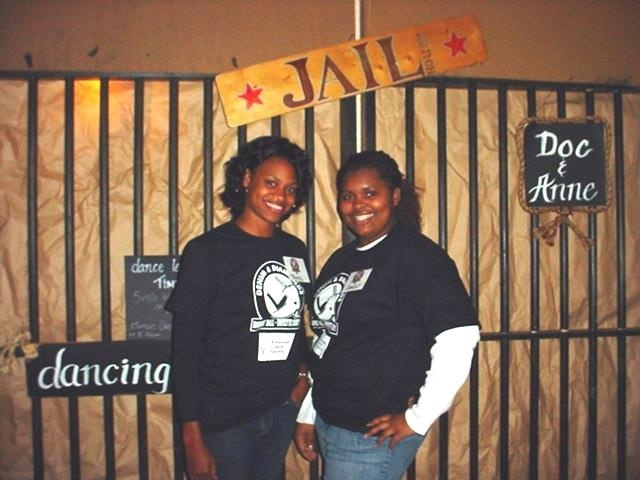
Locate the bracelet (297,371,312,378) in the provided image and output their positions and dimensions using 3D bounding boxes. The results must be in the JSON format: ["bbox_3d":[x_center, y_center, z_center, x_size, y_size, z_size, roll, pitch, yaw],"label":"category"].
[{"bbox_3d":[-0.091,0.828,6.426,0.041,0.051,0.047,2,-7,-41],"label":"bracelet"}]
